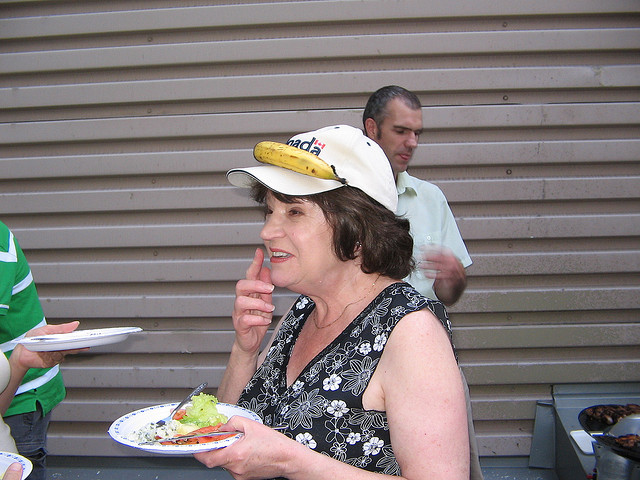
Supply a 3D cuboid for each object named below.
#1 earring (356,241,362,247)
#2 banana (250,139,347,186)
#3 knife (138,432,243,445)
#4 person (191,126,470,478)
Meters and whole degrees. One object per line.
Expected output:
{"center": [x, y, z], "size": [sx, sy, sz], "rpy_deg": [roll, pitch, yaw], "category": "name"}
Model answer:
{"center": [0.255, 0.028, 5.435], "size": [0.015, 0.027, 0.050], "rpy_deg": [-1, -6, 43], "category": "earring"}
{"center": [-0.157, -0.526, 5.486], "size": [0.823, 0.207, 0.172], "rpy_deg": [27, 52, 34], "category": "banana"}
{"center": [-0.808, 1.257, 5.167], "size": [0.602, 0.041, 0.065], "rpy_deg": [1, 14, 2], "category": "knife"}
{"center": [0.187, 0.411, 5.461], "size": [1.559, 2.313, 0.734], "rpy_deg": [3, -4, 5], "category": "person"}
